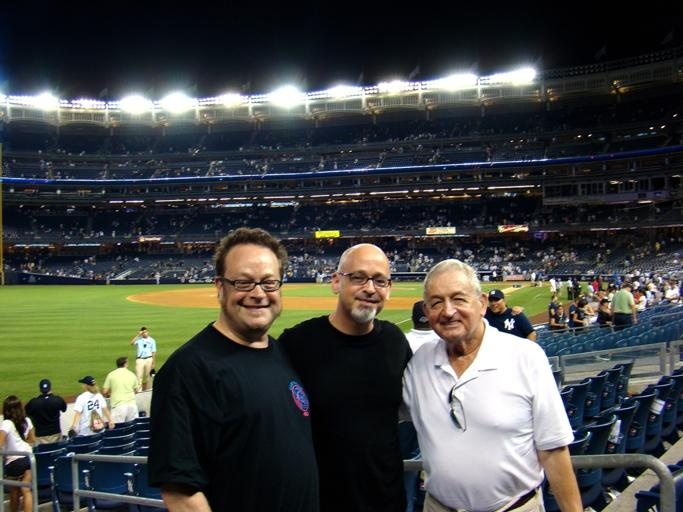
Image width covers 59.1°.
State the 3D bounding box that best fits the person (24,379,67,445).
[{"bbox_3d":[-5.277,3.087,10.741,0.688,1.637,0.592,-2,-1,-32],"label":"person"}]

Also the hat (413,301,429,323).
[{"bbox_3d":[0.997,0.713,7.654,0.250,0.343,0.356,1,0,7],"label":"hat"}]

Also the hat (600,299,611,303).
[{"bbox_3d":[7.870,1.323,17.848,0.248,0.104,0.352,1,1,38],"label":"hat"}]
